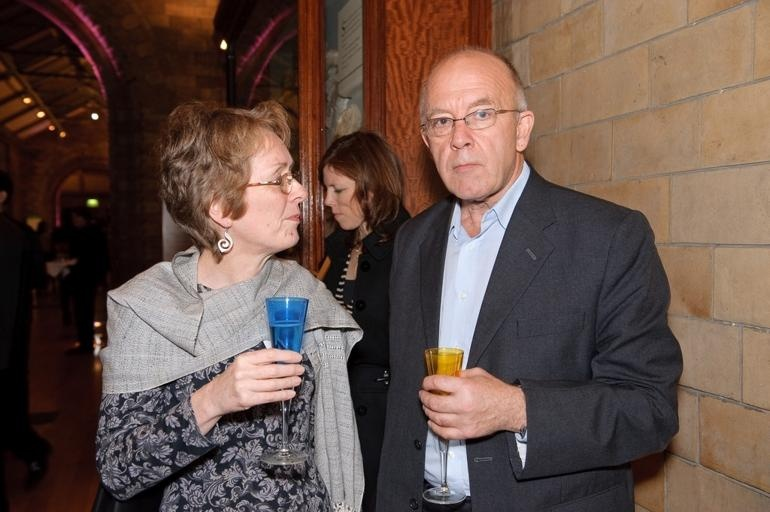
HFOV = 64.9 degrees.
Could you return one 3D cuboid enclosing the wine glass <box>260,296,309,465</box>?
[{"bbox_3d":[-0.379,0.480,2.288,0.166,0.656,0.292,-1,-2,-11],"label":"wine glass"}]
